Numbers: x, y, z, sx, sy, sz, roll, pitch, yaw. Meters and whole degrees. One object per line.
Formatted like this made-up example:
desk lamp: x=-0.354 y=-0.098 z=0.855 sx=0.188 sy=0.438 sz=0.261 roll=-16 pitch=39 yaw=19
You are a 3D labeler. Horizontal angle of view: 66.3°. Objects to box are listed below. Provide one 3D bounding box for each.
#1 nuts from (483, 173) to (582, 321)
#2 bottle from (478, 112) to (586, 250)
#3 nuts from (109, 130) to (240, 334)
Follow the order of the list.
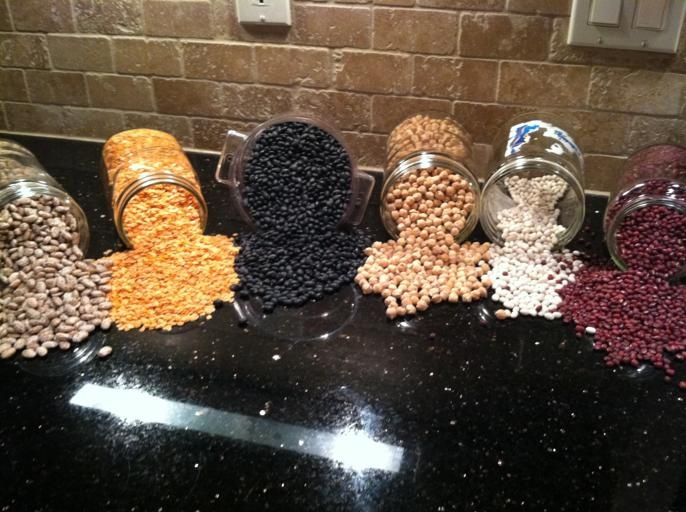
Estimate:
nuts: x=0.527 y=-0.024 z=1.462 sx=0.278 sy=0.118 sz=0.392 roll=0 pitch=59 yaw=6
bottle: x=0.558 y=-0.205 z=1.517 sx=0.295 sy=0.296 sz=0.482 roll=2 pitch=36 yaw=17
nuts: x=-0.377 y=-0.038 z=1.530 sx=0.366 sy=0.526 sz=0.566 roll=-13 pitch=30 yaw=-29
